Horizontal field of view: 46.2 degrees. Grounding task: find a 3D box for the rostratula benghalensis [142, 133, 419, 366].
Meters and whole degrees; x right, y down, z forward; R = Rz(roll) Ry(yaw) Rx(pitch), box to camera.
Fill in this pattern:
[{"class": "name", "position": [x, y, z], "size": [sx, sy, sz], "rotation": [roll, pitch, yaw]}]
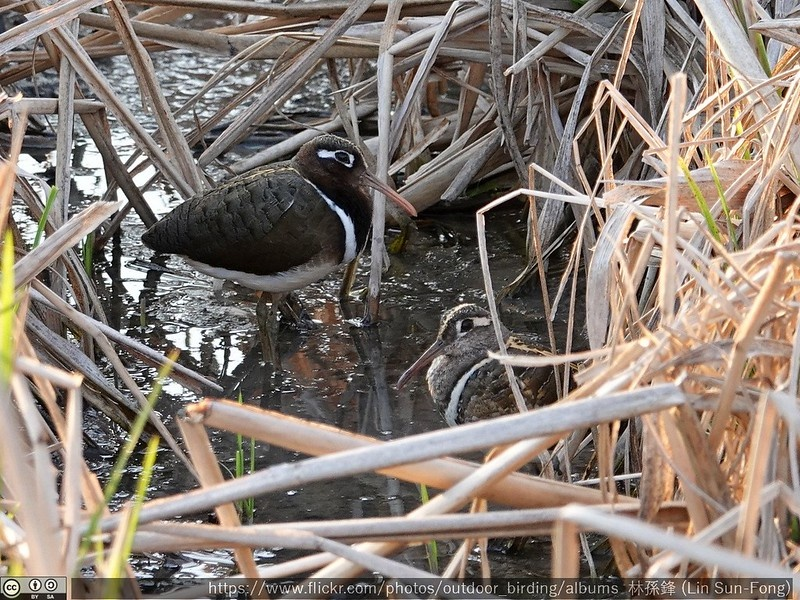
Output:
[{"class": "rostratula benghalensis", "position": [-0.579, -0.318, 4.703], "size": [1.055, 0.919, 0.720], "rotation": [-19, 30, -33]}]
